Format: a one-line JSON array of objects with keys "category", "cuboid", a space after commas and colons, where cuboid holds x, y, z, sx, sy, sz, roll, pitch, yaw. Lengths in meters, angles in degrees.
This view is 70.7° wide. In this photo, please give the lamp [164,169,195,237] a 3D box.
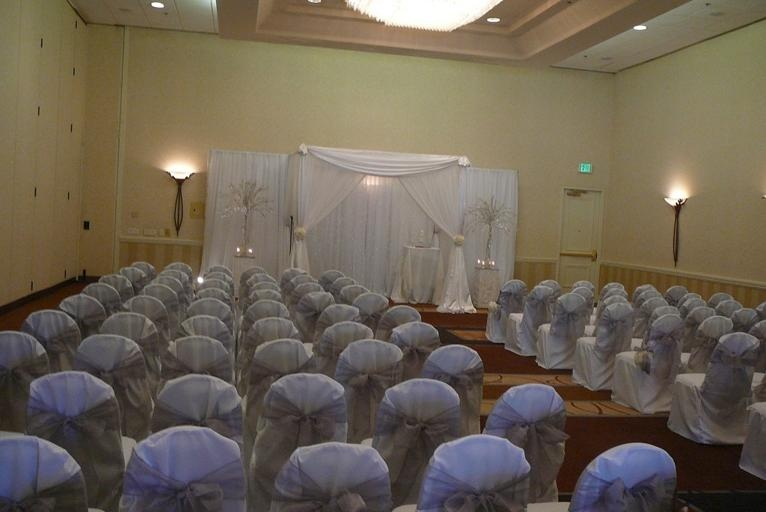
[{"category": "lamp", "cuboid": [-4.239, -1.102, 11.191, 0.532, 1.369, 0.214, 6, 4, -20]}]

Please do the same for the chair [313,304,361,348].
[{"category": "chair", "cuboid": [-0.437, 0.673, 5.228, 0.303, 0.466, 0.400, -1, 3, 4]}]

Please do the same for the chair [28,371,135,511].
[{"category": "chair", "cuboid": [-1.625, 1.010, 2.889, 0.443, 0.814, 0.504, 9, 32, -9]}]

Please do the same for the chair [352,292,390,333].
[{"category": "chair", "cuboid": [-0.162, 0.614, 6.014, 0.359, 0.545, 0.375, 1, 3, -7]}]

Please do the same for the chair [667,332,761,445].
[{"category": "chair", "cuboid": [3.160, 1.244, 5.150, 0.660, 1.204, 0.428, 10, 4, 27]}]

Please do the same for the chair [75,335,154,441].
[{"category": "chair", "cuboid": [-1.742, 0.871, 3.494, 0.467, 0.722, 0.287, 14, 33, 22]}]

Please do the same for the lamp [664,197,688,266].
[{"category": "lamp", "cuboid": [5.821, -0.508, 10.877, 0.431, 1.559, 0.179, 10, 5, 41]}]

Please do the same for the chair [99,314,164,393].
[{"category": "chair", "cuboid": [-1.987, 0.655, 4.308, 0.418, 0.805, 0.386, -1, 6, -15]}]

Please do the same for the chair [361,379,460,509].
[{"category": "chair", "cuboid": [0.125, 1.159, 3.612, 0.630, 1.046, 0.714, 4, 1, -8]}]
